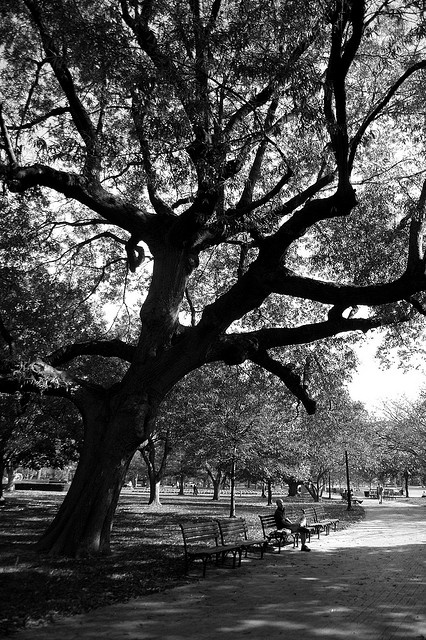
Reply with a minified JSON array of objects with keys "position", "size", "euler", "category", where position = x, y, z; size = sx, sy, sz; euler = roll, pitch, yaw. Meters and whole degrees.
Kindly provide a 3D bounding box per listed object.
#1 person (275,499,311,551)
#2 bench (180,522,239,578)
[{"position":[1.806,4.624,14.305],"size":[0.802,1.074,1.633],"euler":[0,-12,7],"category":"person"},{"position":[-0.022,3.942,10.897],"size":[0.510,0.823,1.275],"euler":[-7,-15,25],"category":"bench"}]
